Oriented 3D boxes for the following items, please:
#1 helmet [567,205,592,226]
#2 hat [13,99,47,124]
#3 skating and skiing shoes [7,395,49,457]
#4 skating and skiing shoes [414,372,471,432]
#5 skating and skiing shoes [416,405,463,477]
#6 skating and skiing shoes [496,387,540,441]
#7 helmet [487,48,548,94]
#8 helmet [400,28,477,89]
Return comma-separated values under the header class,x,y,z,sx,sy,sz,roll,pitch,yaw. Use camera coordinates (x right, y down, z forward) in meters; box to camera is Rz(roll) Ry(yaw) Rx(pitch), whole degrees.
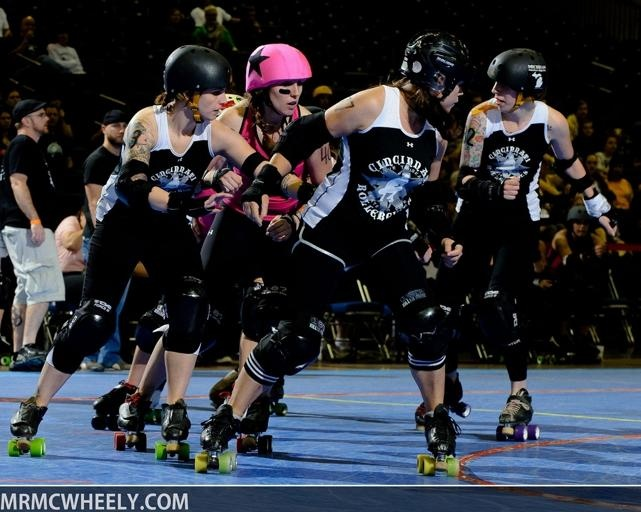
class,x,y,z,sx,sy,sz,roll,pitch,yaw
helmet,3.581,-0.588,10.829,0.297,0.302,0.345,-2,-8,20
hat,-3.193,-1.601,8.570,0.406,0.207,0.297,-31,16,-13
skating and skiing shoes,-1.376,0.818,3.765,0.234,0.170,0.239,15,6,16
skating and skiing shoes,0.757,0.986,4.950,0.440,0.150,0.279,-5,14,18
skating and skiing shoes,0.530,0.824,3.535,0.187,0.287,0.334,0,-8,9
skating and skiing shoes,1.156,0.929,4.574,0.162,0.288,0.473,-2,-8,30
helmet,1.238,-1.124,4.708,0.342,0.259,0.272,-4,35,-20
helmet,0.546,-0.935,3.694,0.333,0.275,0.257,0,17,-3
